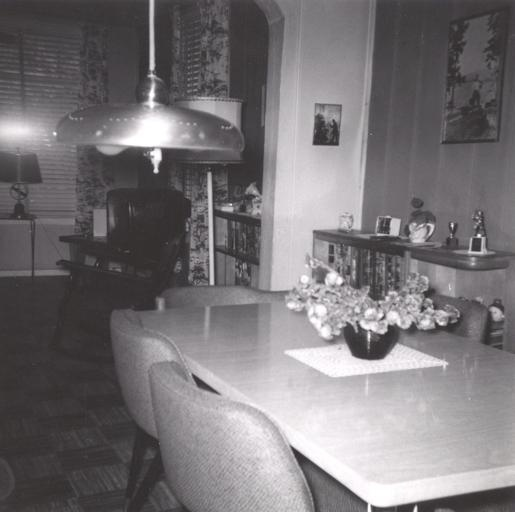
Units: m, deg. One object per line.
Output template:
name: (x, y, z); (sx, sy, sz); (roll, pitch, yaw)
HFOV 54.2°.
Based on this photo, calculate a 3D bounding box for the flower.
flower: (0.351, 0.147, 1.565); (0.365, 0.187, 0.320); (-2, 7, -15)

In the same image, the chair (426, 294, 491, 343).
chair: (0.938, 0.269, 2.154); (0.273, 0.217, 0.157); (1, -11, -28)

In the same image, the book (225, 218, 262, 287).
book: (-0.127, -0.030, 4.884); (0.181, 0.644, 0.603); (1, -3, -17)

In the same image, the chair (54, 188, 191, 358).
chair: (-1.212, -0.042, 5.153); (0.852, 1.194, 0.969); (-9, -12, -19)

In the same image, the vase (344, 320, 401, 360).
vase: (0.352, 0.275, 1.620); (0.145, 0.128, 0.147); (0, -3, 34)

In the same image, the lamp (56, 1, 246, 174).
lamp: (-0.239, -0.428, 1.222); (0.431, 0.349, 0.305); (-4, 8, -43)
